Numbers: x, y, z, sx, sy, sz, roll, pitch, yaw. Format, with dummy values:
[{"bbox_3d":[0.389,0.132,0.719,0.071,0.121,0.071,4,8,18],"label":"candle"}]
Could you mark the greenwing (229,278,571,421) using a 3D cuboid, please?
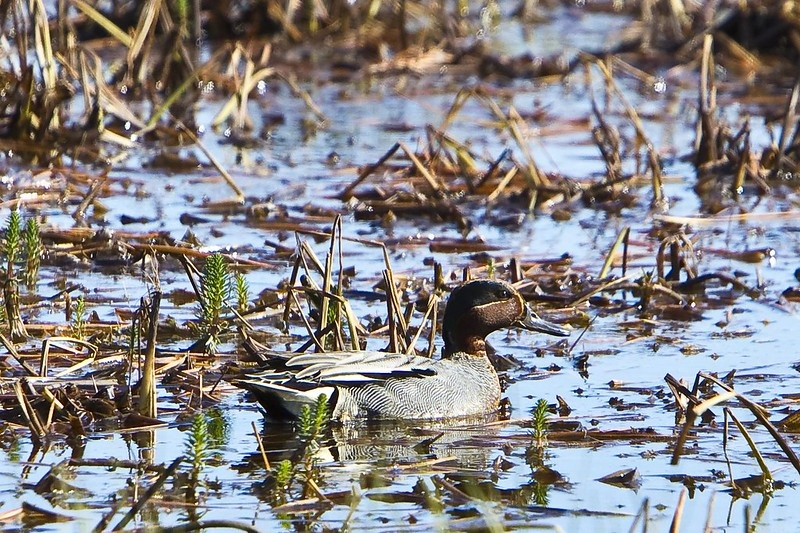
[{"bbox_3d":[-0.055,0.584,6.837,2.345,0.958,0.704,0,9,-17],"label":"greenwing"}]
